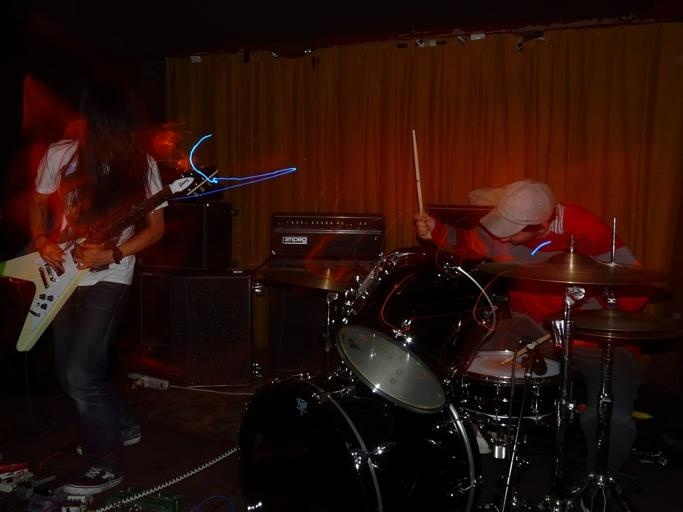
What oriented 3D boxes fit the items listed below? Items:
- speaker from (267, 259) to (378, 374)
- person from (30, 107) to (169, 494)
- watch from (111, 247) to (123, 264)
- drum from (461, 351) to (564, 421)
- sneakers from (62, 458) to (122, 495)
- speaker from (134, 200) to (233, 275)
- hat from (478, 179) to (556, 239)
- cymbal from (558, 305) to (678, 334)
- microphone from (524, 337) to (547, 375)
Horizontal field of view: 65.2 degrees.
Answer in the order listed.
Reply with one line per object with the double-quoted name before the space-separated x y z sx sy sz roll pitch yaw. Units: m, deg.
"speaker" -0.287 0.496 3.928 0.879 0.881 0.898 2 1 17
"person" -1.361 0.227 3.020 0.733 2.107 0.602 -4 13 -19
"watch" -1.230 -0.004 2.968 0.062 0.069 0.076 11 29 -40
"drum" 0.896 0.633 2.804 0.412 0.168 0.428 -4 22 2
"sneakers" -1.372 1.243 2.962 0.273 0.108 0.140 3 34 -49
"speaker" -1.326 -0.075 4.552 0.767 0.738 0.563 -1 -5 29
"hat" 1.076 -0.270 3.257 0.420 0.374 0.260 4 12 14
"cymbal" 1.366 0.318 2.579 0.241 0.058 0.240 -4 6 -22
"microphone" 0.947 0.523 2.681 0.106 0.189 0.170 -6 14 12
